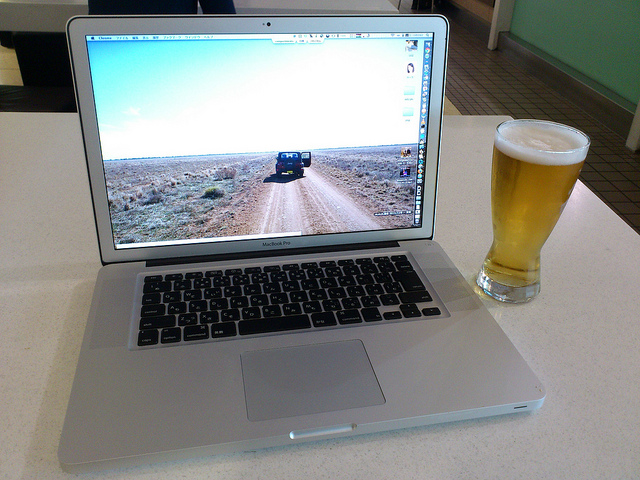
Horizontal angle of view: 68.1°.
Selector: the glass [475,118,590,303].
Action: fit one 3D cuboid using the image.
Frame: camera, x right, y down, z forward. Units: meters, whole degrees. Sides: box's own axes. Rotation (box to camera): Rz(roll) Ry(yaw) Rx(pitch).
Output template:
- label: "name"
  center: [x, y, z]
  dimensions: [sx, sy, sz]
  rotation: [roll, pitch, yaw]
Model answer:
- label: "glass"
  center: [0.314, -0.061, 0.731]
  dimensions: [0.120, 0.236, 0.221]
  rotation: [17, 40, 24]
